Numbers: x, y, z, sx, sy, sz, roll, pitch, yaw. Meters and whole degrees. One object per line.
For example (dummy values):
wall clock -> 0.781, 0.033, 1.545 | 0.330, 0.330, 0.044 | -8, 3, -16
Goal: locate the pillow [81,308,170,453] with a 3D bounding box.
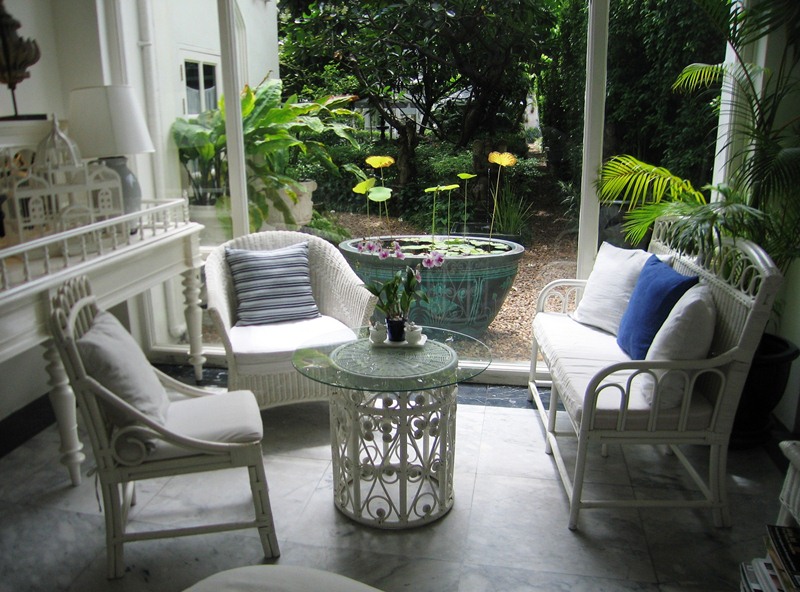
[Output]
pillow -> -1.150, 0.297, 2.682 | 0.244, 0.432, 0.473 | -16, 20, -11

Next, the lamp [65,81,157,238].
lamp -> -1.567, -0.737, 3.464 | 0.396, 0.784, 0.280 | -7, 20, -20

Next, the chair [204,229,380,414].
chair -> -0.683, 0.151, 3.798 | 0.852, 1.022, 0.904 | -4, 13, -15

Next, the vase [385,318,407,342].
vase -> -0.019, 0.161, 3.024 | 0.098, 0.116, 0.099 | 3, 12, 6

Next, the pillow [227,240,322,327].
pillow -> -0.749, -0.048, 3.756 | 0.498, 0.462, 0.258 | -6, 10, -24

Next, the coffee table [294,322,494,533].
coffee table -> -0.018, 0.628, 3.010 | 0.791, 0.713, 0.854 | -3, 7, -13

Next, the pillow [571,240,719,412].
pillow -> 1.156, 0.154, 2.944 | 0.217, 0.287, 0.741 | -9, 12, -2

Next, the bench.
bench -> 1.236, 0.222, 3.436 | 0.805, 1.227, 1.762 | 1, 12, 8

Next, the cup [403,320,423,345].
cup -> 0.057, 0.180, 3.019 | 0.088, 0.123, 0.089 | 0, 2, 0

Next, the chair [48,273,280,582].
chair -> -0.973, 0.518, 2.768 | 0.875, 1.204, 0.855 | 1, 13, 0

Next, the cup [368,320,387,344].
cup -> -0.106, 0.172, 3.014 | 0.085, 0.106, 0.088 | 3, 5, 0

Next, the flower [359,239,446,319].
flower -> 0.029, -0.045, 3.034 | 0.253, 0.355, 0.316 | 0, -14, 33
